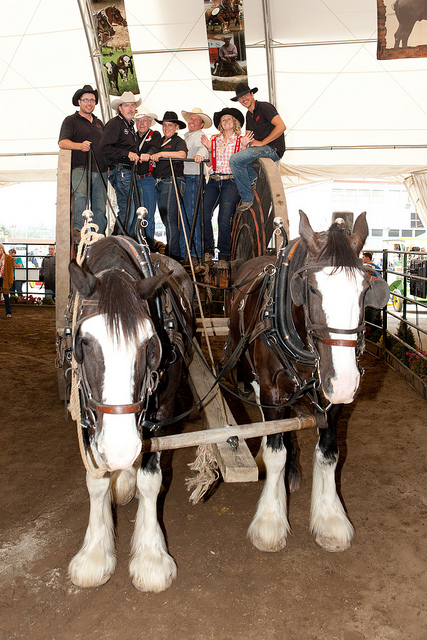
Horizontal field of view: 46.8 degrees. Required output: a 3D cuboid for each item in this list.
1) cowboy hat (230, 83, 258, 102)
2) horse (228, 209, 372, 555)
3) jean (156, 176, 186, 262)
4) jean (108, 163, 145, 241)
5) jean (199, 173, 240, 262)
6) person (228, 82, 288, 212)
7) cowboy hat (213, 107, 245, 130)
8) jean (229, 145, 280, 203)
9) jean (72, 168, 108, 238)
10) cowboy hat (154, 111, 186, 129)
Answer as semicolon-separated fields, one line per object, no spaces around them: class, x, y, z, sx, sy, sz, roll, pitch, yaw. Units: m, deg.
cowboy hat;0.320;-2.469;5.286;0.228;0.130;0.320;-21;10;14
horse;0.444;0.399;3.197;0.639;1.757;2.284;1;2;-5
jean;-0.478;-1.148;5.570;0.337;0.951;0.684;0;7;-6
jean;-1.009;-1.309;5.620;0.379;0.915;0.316;-24;36;-39
jean;0.069;-1.161;5.613;0.363;0.967;0.914;-2;8;-18
person;0.461;-1.833;5.150;0.576;1.402;0.771;1;7;5
cowboy hat;0.180;-2.327;5.617;0.337;0.285;0.496;1;7;0
jean;0.472;-1.485;5.015;0.539;0.655;0.490;-3;18;7
jean;-1.285;-1.240;5.127;0.333;0.661;0.681;-1;7;-13
cowboy hat;-0.483;-2.388;5.963;0.261;0.119;0.314;3;-10;7
